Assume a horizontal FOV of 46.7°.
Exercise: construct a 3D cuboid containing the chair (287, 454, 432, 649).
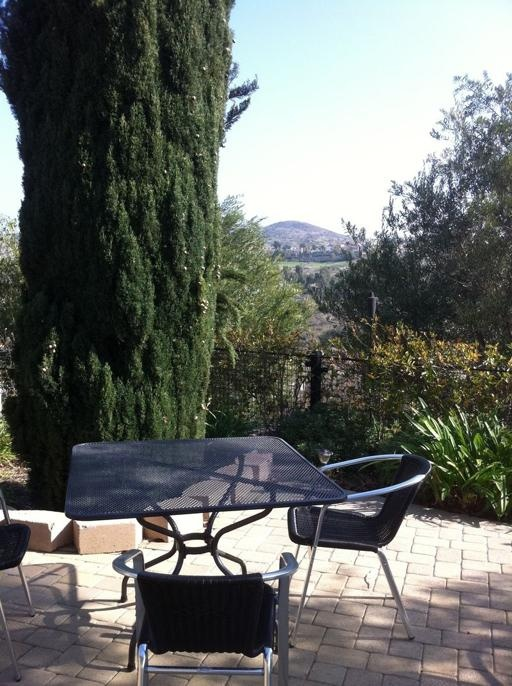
[{"bbox_3d":[0.471,0.956,2.866,0.609,0.807,0.682,2,3,-9],"label":"chair"}]
